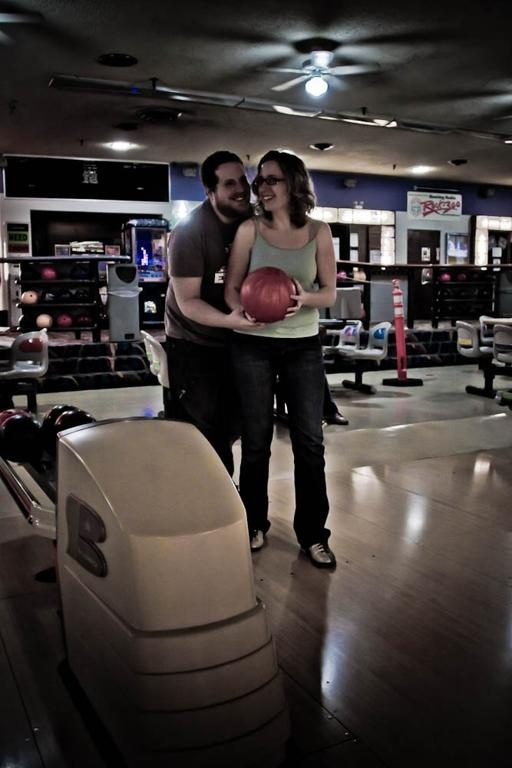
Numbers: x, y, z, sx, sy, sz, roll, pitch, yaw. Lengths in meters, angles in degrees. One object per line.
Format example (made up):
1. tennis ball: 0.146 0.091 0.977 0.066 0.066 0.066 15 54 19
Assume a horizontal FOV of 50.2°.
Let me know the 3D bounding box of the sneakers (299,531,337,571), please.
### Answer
1. sneakers: 0.208 0.563 1.860 0.062 0.072 0.180 -2 -1 -17

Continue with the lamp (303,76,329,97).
1. lamp: 0.670 -3.302 6.013 0.200 0.125 0.280 0 5 3

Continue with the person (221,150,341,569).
1. person: 0.084 -0.062 1.786 0.366 1.335 0.391 0 5 0

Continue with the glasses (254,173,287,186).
1. glasses: 0.035 -0.615 1.648 0.102 0.034 0.027 1 5 19

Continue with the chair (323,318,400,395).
1. chair: 1.263 -0.307 6.551 0.431 0.702 1.011 -1 6 -12

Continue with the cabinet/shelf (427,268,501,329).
1. cabinet/shelf: 4.554 -1.992 11.569 1.428 1.286 0.934 6 34 33

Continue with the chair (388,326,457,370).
1. chair: 2.681 -0.574 9.061 1.305 0.663 0.415 1 9 -30

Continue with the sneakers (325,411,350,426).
1. sneakers: 0.645 0.290 4.407 0.228 0.099 0.084 -2 -1 42

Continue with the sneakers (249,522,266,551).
1. sneakers: 0.010 0.557 1.951 0.046 0.055 0.141 -1 -5 3
